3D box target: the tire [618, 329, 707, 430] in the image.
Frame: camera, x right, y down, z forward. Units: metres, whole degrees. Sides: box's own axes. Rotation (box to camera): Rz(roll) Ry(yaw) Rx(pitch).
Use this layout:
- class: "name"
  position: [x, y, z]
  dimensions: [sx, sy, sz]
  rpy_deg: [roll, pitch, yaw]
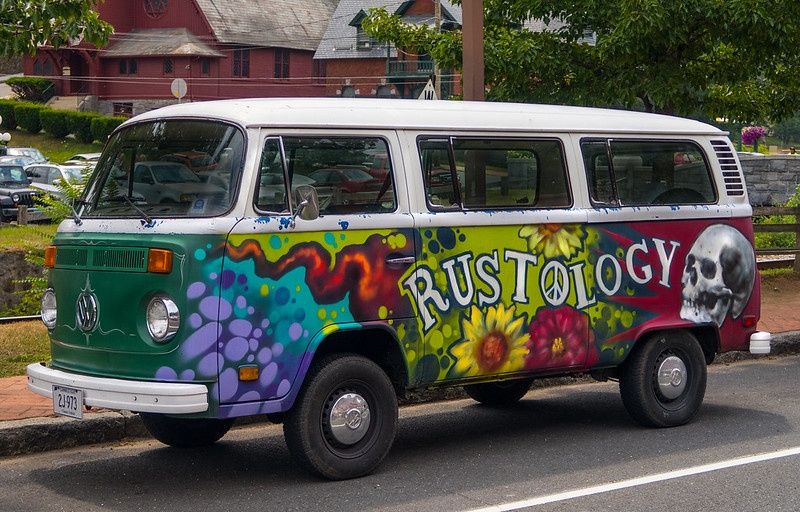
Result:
- class: "tire"
  position: [3.067, 1.436, 9.596]
  dimensions: [0.976, 1.046, 0.339]
  rpy_deg: [-10, 14, -32]

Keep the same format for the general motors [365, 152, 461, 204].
- class: "general motors"
  position: [0.139, -0.802, 8.333]
  dimensions: [0.800, 0.447, 0.449]
  rpy_deg: [-7, 9, -31]

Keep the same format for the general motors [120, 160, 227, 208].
- class: "general motors"
  position: [-2.199, -0.647, 7.995]
  dimensions: [1.012, 0.472, 0.490]
  rpy_deg: [0, 4, 38]

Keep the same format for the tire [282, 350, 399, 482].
- class: "tire"
  position: [-0.595, 1.563, 7.997]
  dimensions: [1.186, 1.275, 0.414]
  rpy_deg: [3, 2, -34]

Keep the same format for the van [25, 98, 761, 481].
- class: "van"
  position: [0.101, 0.228, 8.826]
  dimensions: [7.479, 3.769, 1.971]
  rpy_deg: [-4, 10, -28]

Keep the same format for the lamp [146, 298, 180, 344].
- class: "lamp"
  position: [-2.169, 0.584, 7.496]
  dimensions: [0.385, 0.402, 0.086]
  rpy_deg: [6, 10, 30]
